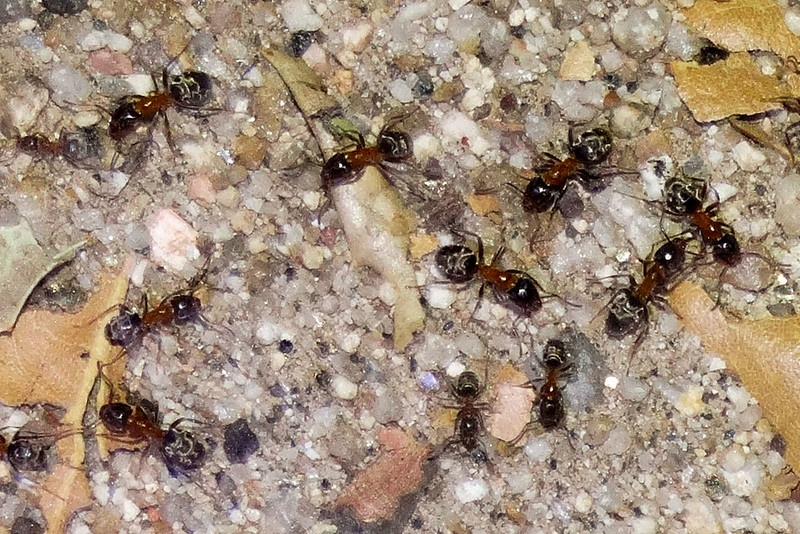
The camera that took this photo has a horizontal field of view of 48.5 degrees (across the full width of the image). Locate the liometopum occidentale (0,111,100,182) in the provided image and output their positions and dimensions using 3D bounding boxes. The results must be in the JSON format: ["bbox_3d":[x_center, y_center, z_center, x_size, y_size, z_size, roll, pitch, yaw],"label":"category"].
[{"bbox_3d":[-2.499,-0.905,6.405,0.501,0.122,0.351,6,86,-1],"label":"liometopum occidentale"}]
